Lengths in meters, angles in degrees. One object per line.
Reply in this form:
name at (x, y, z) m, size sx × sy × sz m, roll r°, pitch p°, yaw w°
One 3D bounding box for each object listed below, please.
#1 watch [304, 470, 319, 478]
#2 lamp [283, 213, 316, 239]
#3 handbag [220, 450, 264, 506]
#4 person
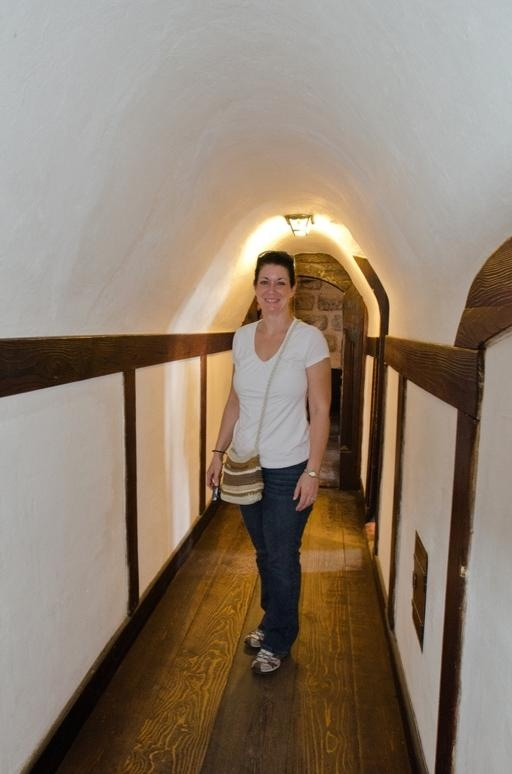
watch at (0.193, 0.303, 1.889) m, size 0.040 × 0.032 × 0.014 m, roll 0°, pitch 5°, yaw -17°
lamp at (0.273, -1.016, 3.314) m, size 0.118 × 0.127 × 0.127 m, roll 1°, pitch 23°, yaw 1°
handbag at (-0.046, 0.329, 1.957) m, size 0.187 × 0.229 × 0.079 m, roll -3°, pitch -6°, yaw 35°
person at (0.078, 0.301, 2.022) m, size 0.376 × 1.641 × 0.279 m, roll 2°, pitch 4°, yaw 6°
